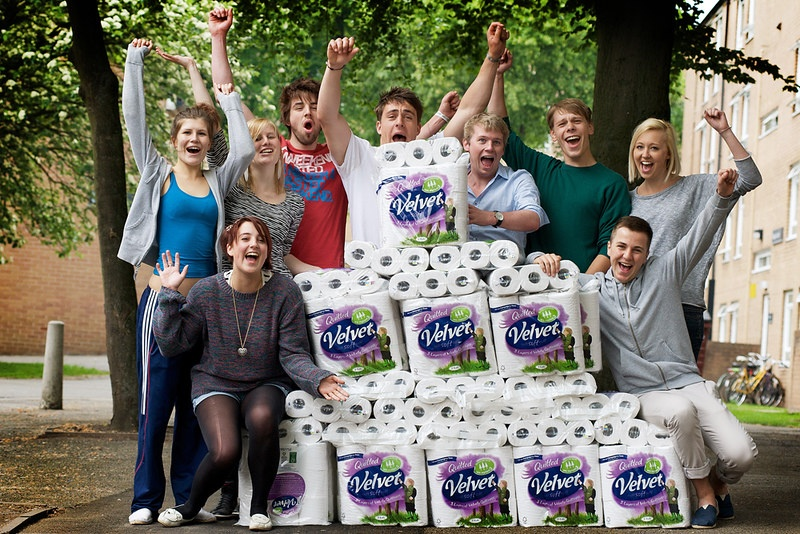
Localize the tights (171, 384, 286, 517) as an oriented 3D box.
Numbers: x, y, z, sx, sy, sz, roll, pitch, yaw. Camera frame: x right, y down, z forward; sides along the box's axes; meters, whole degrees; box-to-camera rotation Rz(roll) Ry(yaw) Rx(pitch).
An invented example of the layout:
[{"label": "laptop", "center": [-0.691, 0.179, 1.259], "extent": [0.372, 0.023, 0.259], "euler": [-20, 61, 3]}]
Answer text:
[{"label": "tights", "center": [-1.747, 1.974, 10.662], "extent": [1.095, 0.990, 0.333], "euler": [-2, 1, -8]}]

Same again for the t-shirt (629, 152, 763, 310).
[{"label": "t-shirt", "center": [3.231, -0.366, 12.093], "extent": [0.717, 1.930, 2.489], "euler": [16, -14, -35]}]

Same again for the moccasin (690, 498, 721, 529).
[{"label": "moccasin", "center": [3.315, 2.687, 10.831], "extent": [0.311, 0.234, 0.194], "euler": [-2, 1, 2]}]

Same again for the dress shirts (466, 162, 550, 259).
[{"label": "dress shirts", "center": [1.198, -0.618, 11.327], "extent": [1.048, 0.869, 0.388], "euler": [2, -11, 34]}]

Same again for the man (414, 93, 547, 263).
[{"label": "man", "center": [0.850, -0.666, 11.624], "extent": [1.445, 2.264, 1.284], "euler": [1, 27, -6]}]

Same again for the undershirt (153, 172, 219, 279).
[{"label": "undershirt", "center": [-2.398, -0.474, 11.254], "extent": [0.722, 1.221, 0.606], "euler": [8, -15, -38]}]

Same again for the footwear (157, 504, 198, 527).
[{"label": "footwear", "center": [-2.397, 2.670, 10.714], "extent": [0.338, 0.137, 0.196], "euler": [5, -8, -16]}]

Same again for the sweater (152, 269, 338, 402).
[{"label": "sweater", "center": [-1.610, 0.802, 10.779], "extent": [2.083, 1.409, 1.518], "euler": [3, 2, -7]}]

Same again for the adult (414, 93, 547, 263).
[{"label": "adult", "center": [1.162, -1.091, 11.905], "extent": [1.791, 2.583, 1.405], "euler": [-3, -6, -6]}]

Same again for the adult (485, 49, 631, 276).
[{"label": "adult", "center": [1.935, -1.000, 12.107], "extent": [1.743, 3.565, 1.003], "euler": [-7, -17, 32]}]

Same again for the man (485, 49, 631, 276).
[{"label": "man", "center": [1.944, -1.031, 12.072], "extent": [1.808, 3.617, 1.058], "euler": [-8, -18, 33]}]
